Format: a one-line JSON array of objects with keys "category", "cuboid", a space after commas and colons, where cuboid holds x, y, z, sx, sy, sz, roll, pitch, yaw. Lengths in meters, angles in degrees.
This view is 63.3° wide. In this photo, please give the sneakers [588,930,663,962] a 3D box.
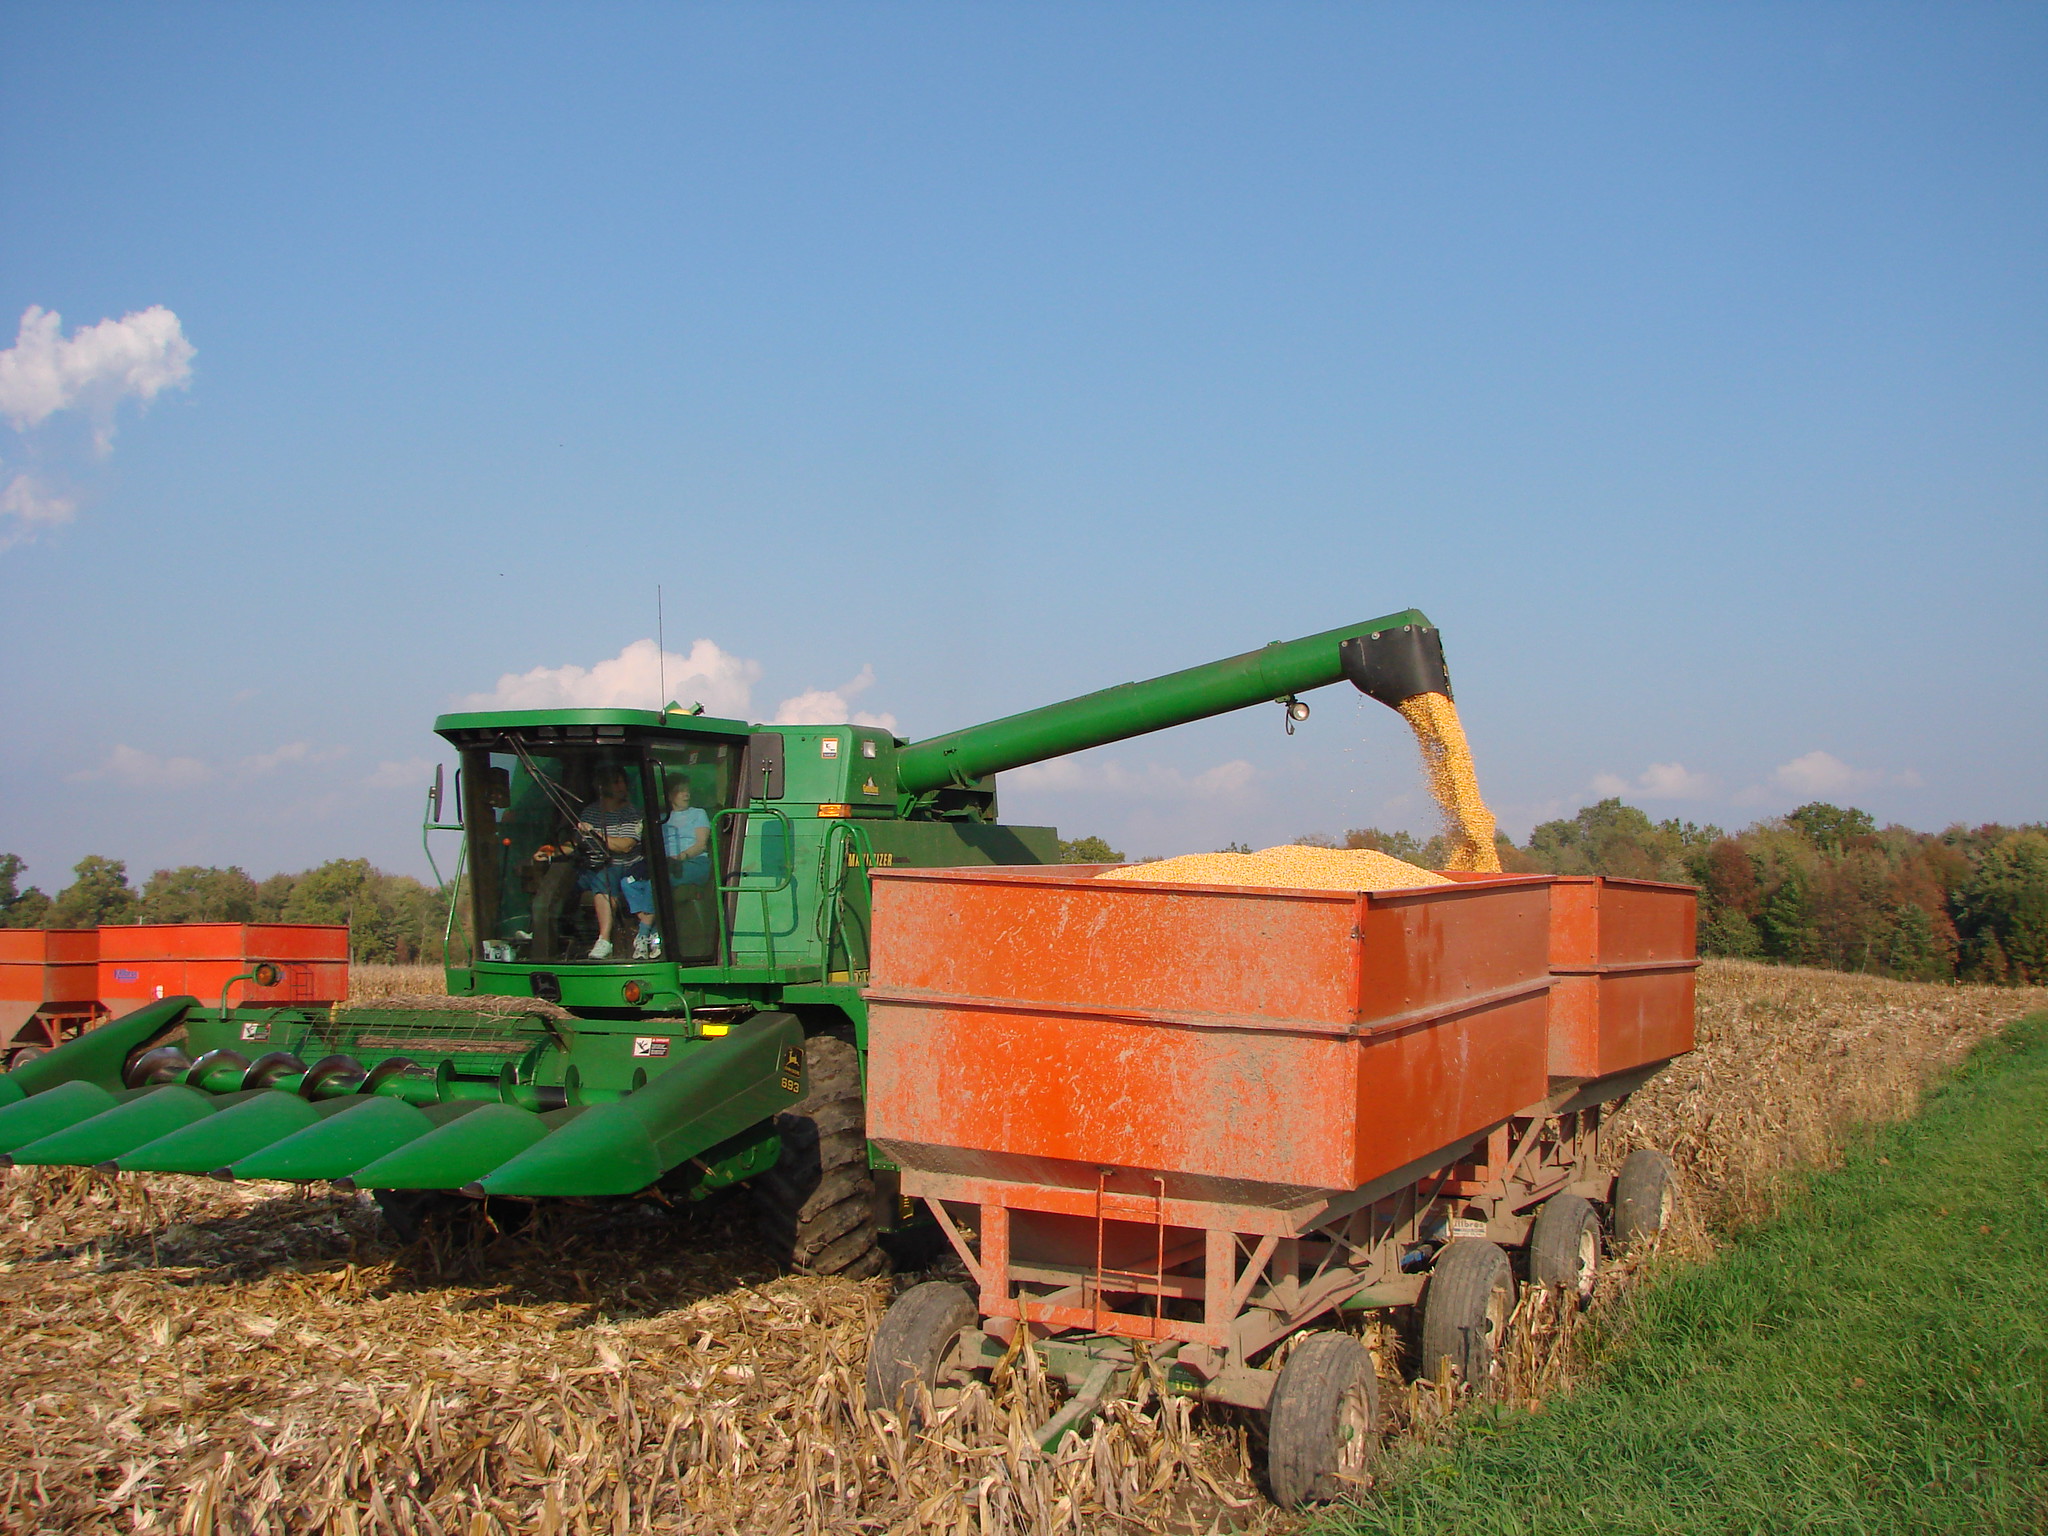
[{"category": "sneakers", "cuboid": [-2.624, 1.179, 10.833, 0.526, 0.213, 0.166, 3, -8, 0]}]

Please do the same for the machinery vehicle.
[{"category": "machinery vehicle", "cuboid": [-1.941, 1.445, 12.271, 4.701, 3.365, 8.255, -3, -5, 33]}]
